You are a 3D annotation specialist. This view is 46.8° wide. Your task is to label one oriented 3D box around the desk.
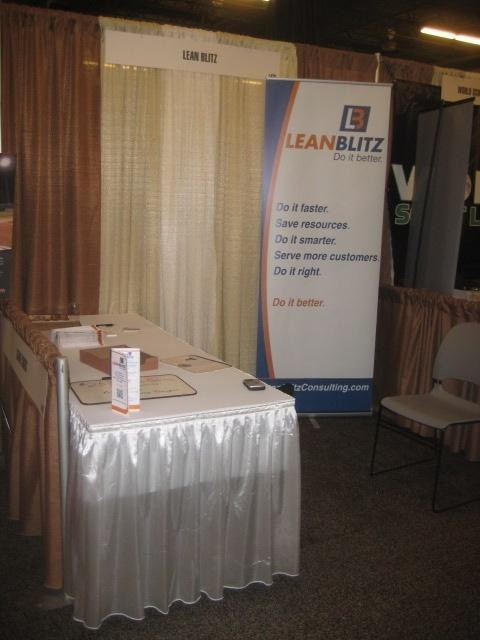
[{"bbox_3d":[-0.331,0.500,2.201,0.502,0.375,1.135,-4,11,-20],"label":"desk"}]
